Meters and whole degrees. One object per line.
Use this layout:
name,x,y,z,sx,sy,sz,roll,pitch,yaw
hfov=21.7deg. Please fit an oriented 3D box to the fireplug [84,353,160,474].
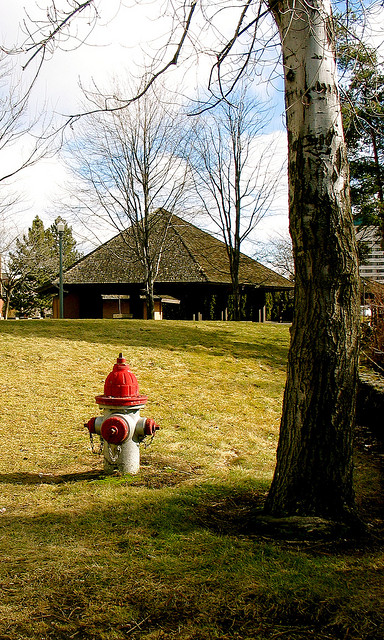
fireplug,-0.583,0.796,8.284,0.600,1.001,0.387,-1,7,-9
